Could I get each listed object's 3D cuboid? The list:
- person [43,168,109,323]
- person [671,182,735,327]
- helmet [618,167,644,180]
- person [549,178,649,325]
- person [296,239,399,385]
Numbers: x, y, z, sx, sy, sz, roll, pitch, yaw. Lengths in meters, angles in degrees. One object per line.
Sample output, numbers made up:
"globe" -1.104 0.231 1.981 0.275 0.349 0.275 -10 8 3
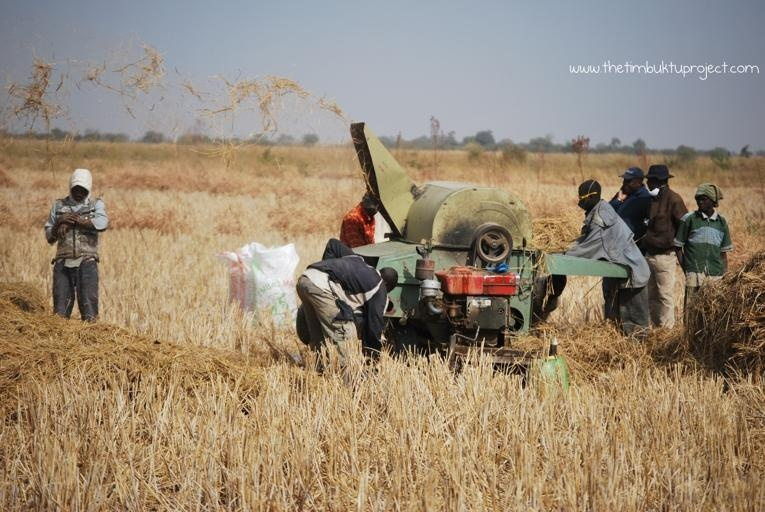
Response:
"person" -3.878 -0.158 10.764 0.711 1.888 0.883 -1 7 -26
"person" 4.074 -0.157 10.883 0.690 1.528 0.419 4 6 20
"helmet" 3.368 -1.122 11.446 0.233 0.126 0.172 0 4 -10
"person" 2.726 0.124 10.747 1.292 2.186 0.704 5 26 21
"person" -0.472 0.585 9.583 1.136 1.505 0.865 3 6 9
